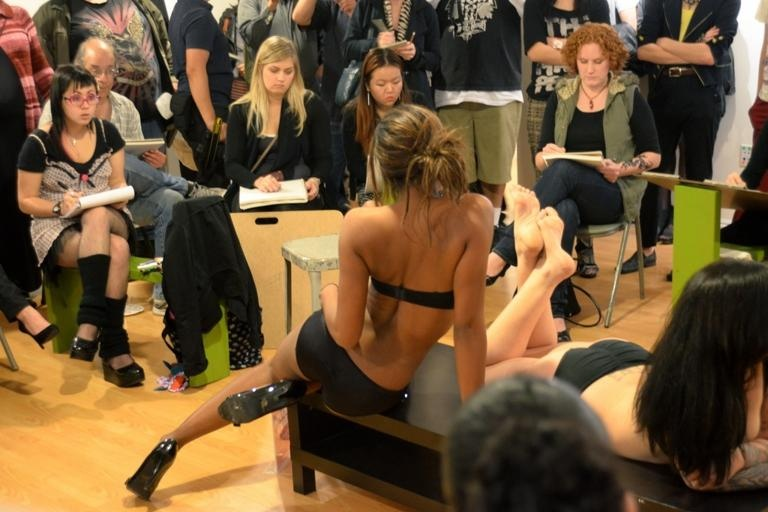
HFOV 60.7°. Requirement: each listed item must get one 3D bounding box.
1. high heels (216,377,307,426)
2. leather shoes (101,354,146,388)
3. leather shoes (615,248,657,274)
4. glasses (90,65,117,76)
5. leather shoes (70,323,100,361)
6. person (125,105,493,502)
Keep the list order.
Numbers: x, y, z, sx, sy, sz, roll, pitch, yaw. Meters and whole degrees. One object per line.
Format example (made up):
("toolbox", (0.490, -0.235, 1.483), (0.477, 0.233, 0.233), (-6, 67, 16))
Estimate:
("high heels", (-0.474, 0.576, 2.687), (0.389, 0.151, 0.158), (-19, -21, -6))
("leather shoes", (-1.497, 0.642, 3.731), (0.329, 0.145, 0.113), (7, 12, 40))
("leather shoes", (1.898, 0.000, 4.945), (0.451, 0.196, 0.179), (-10, 10, -34))
("glasses", (-1.803, -1.192, 4.213), (0.091, 0.033, 0.094), (-10, 13, -40))
("leather shoes", (-1.597, 0.443, 3.571), (0.088, 0.107, 0.269), (4, 31, -3))
("person", (-0.196, 0.241, 2.975), (1.522, 1.749, 1.162), (12, 13, 36))
